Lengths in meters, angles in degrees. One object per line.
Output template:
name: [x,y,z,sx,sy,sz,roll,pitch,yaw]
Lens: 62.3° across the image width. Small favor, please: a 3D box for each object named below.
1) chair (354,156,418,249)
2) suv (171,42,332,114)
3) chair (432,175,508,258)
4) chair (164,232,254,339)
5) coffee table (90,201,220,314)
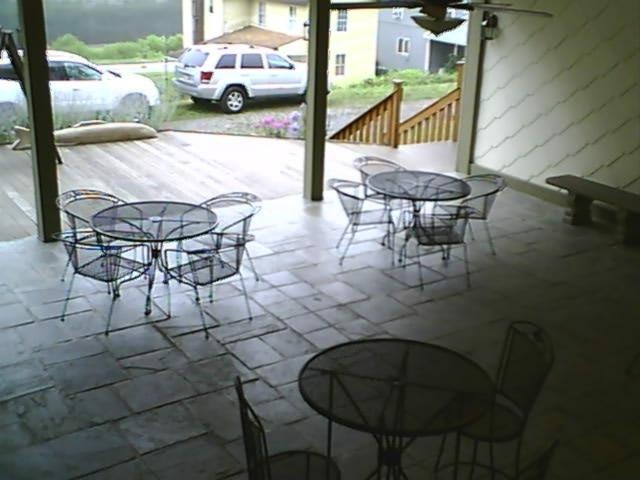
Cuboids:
chair: [0.809,-0.426,6.600,1.164,1.194,0.906,-2,51,4]
suv: [-1.642,-4.005,12.657,3.385,1.085,1.441,-12,28,-26]
chair: [1.781,-0.268,6.350,0.958,0.939,0.820,-8,35,-9]
chair: [-1.091,0.465,5.137,0.728,0.816,0.668,-27,55,-37]
coffee table: [-1.682,0.203,5.469,1.477,0.805,1.163,4,32,-4]
